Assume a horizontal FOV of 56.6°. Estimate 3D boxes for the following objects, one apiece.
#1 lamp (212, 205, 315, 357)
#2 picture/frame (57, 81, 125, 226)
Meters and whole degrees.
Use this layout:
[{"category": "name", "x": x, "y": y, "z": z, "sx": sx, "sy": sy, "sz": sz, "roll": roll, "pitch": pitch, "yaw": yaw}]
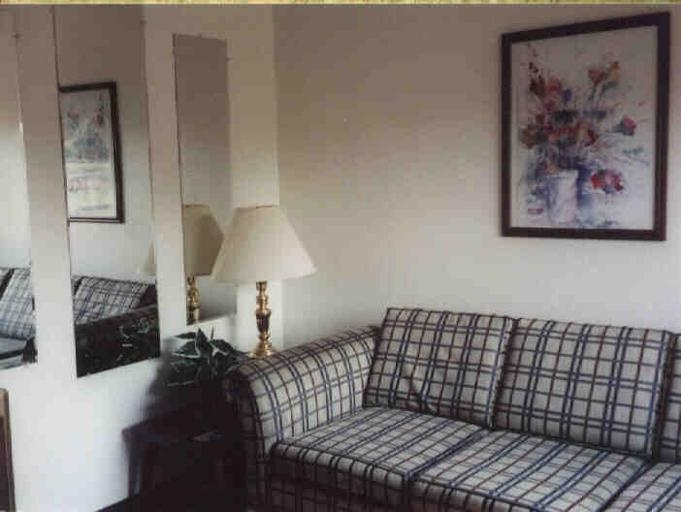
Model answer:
[{"category": "lamp", "x": -0.270, "y": 0.086, "z": 2.070, "sx": 0.350, "sy": 0.485, "sz": 0.333, "roll": -4, "pitch": 9, "yaw": -17}, {"category": "picture/frame", "x": -0.686, "y": -0.288, "z": 1.755, "sx": 0.043, "sy": 0.391, "sz": 0.163, "roll": 3, "pitch": 8, "yaw": 33}]
